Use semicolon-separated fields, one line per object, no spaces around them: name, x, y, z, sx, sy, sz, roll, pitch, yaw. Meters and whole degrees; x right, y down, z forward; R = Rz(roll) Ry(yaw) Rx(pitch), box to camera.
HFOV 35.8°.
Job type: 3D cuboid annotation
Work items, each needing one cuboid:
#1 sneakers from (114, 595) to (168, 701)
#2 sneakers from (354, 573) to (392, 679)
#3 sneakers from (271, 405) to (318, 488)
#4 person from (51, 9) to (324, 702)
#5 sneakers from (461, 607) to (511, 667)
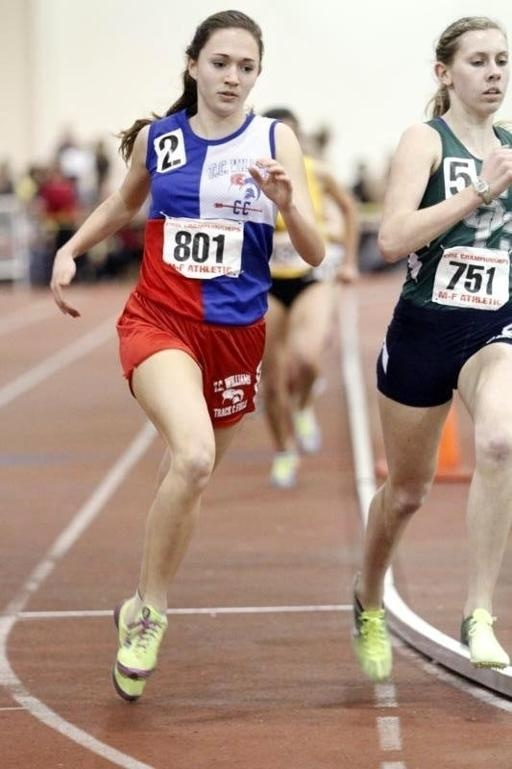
sneakers;-0.280;0.621;1.945;0.104;0.123;0.294;34;9;-20
sneakers;0.298;0.659;2.124;0.075;0.086;0.224;-5;34;3
sneakers;0.268;0.427;5.131;0.206;0.254;0.627;-2;23;19
person;-0.166;0.063;2.169;0.674;1.973;1.093;-4;27;-12
sneakers;0.501;0.571;1.806;0.072;0.077;0.198;-5;2;-2
